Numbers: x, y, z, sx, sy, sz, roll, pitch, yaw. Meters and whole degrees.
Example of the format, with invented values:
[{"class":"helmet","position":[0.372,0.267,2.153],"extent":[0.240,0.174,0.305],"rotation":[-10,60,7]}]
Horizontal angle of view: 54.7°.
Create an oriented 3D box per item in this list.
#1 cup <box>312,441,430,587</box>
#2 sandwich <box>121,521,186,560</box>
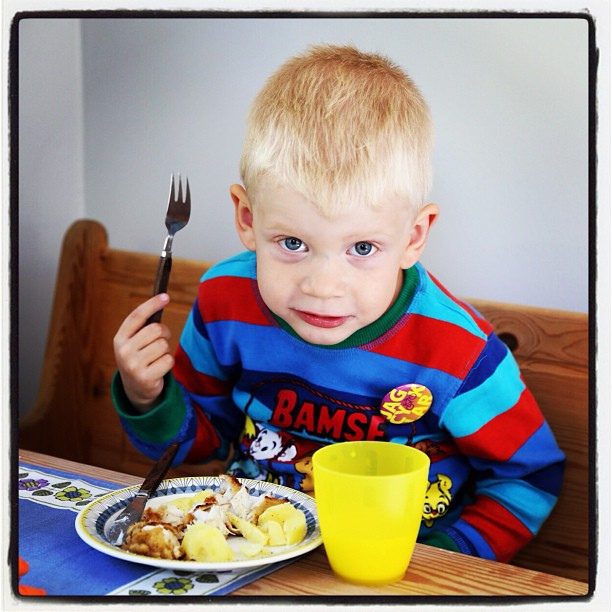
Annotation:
[{"class":"cup","position":[0.052,0.184,0.556],"extent":[0.105,0.102,0.117],"rotation":[0,-2,-5]},{"class":"sandwich","position":[-0.125,0.200,0.518],"extent":[0.031,0.016,0.039],"rotation":[11,-4,-29]}]
